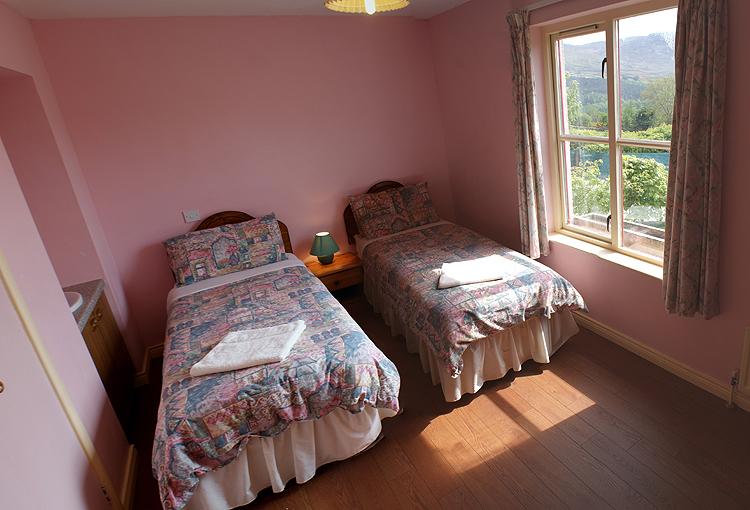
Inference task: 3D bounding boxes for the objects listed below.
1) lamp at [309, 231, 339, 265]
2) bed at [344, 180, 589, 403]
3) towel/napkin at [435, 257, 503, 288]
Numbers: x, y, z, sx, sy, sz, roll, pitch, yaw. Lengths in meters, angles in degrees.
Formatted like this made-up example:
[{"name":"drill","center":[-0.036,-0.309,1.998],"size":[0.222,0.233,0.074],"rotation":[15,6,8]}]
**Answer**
[{"name":"lamp","center":[-0.603,-0.098,5.305],"size":[0.304,0.332,0.316],"rotation":[7,14,31]},{"name":"bed","center":[0.585,0.098,4.840],"size":[1.398,1.203,2.384],"rotation":[-18,27,-24]},{"name":"towel/napkin","center":[0.803,0.127,4.275],"size":[0.585,0.092,0.444],"rotation":[-9,19,5]}]
